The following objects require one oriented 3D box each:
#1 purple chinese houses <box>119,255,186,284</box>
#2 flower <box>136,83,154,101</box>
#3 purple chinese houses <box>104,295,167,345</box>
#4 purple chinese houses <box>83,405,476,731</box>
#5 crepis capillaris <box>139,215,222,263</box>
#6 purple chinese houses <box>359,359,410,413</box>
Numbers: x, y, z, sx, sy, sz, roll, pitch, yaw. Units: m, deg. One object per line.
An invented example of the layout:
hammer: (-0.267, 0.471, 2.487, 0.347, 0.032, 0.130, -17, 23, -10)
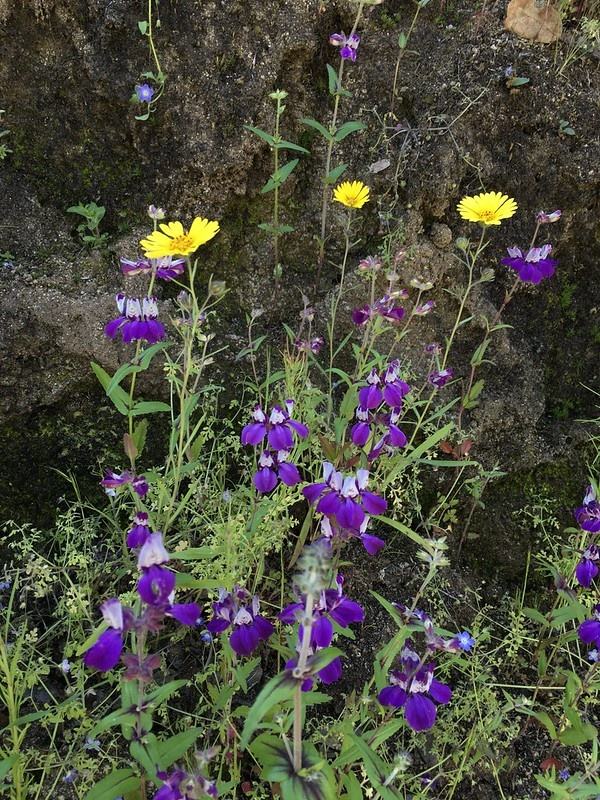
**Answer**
purple chinese houses: (-0.483, -0.438, 2.629, 0.149, 0.073, 0.154, -1, 12, -2)
flower: (-0.645, -1.274, 3.342, 0.071, 0.026, 0.075, -16, 88, -8)
purple chinese houses: (-0.563, -0.254, 2.676, 0.188, 0.131, 0.167, 33, 54, 29)
purple chinese houses: (-0.093, 0.707, 2.375, 1.014, 1.330, 0.685, -8, 40, -15)
crepis capillaris: (-0.375, -0.508, 2.515, 0.219, 0.113, 0.209, 8, 40, 4)
purple chinese houses: (0.285, -0.049, 2.781, 0.058, 0.148, 0.179, 20, 20, -22)
